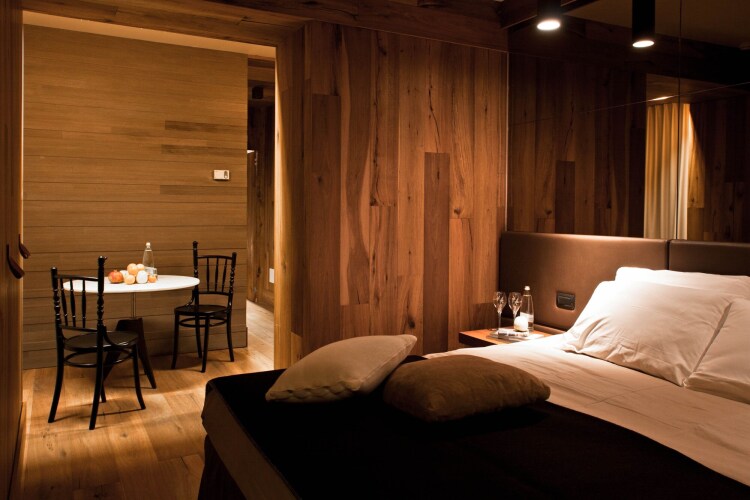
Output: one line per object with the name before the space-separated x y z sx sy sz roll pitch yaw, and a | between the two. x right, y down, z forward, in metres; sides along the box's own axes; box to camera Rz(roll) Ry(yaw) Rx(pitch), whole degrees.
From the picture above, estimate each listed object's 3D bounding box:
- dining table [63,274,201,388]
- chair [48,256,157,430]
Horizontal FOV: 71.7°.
dining table | -2.149 0.717 4.554 1.186 0.804 1.084 2 -11 -24
chair | -2.314 0.596 4.315 0.676 1.261 1.477 -3 8 -28
